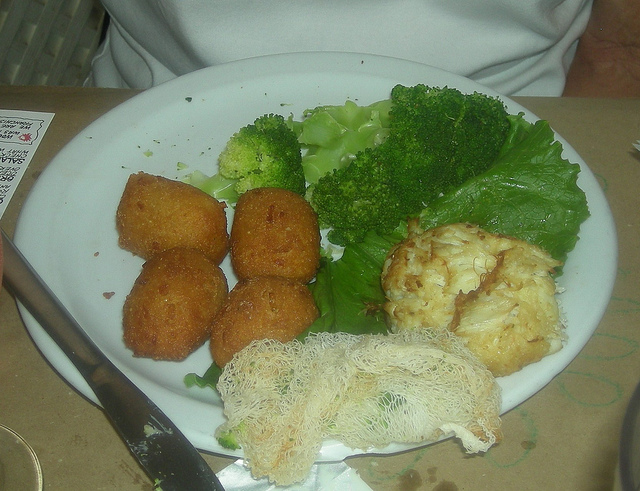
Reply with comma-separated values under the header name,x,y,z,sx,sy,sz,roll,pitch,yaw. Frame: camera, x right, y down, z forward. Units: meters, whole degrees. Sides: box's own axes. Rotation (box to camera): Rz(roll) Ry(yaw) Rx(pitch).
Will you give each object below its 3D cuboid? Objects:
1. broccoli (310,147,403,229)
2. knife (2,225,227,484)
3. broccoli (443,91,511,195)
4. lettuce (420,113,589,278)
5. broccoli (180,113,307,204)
name,x,y,z,sx,sy,sz,roll,pitch,yaw
broccoli,0.097,-0.201,1.834,0.268,0.260,0.079,-12,78,-7
knife,-0.517,0.295,1.614,0.090,0.047,0.822,-31,68,-34
broccoli,0.467,-0.269,1.855,0.222,0.059,0.259,18,84,35
lettuce,0.558,-0.144,1.787,0.400,0.177,0.440,30,63,25
broccoli,-0.197,-0.236,1.875,0.289,0.112,0.278,14,70,2
